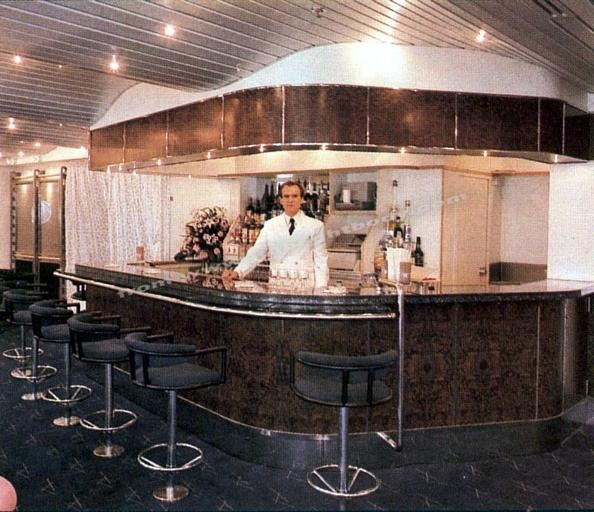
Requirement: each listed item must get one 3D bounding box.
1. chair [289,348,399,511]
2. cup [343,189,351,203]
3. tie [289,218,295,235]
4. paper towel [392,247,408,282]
[{"bbox_3d":[0.275,1.008,3.811,0.621,1.032,0.787,-1,9,-1],"label":"chair"},{"bbox_3d":[0.533,-0.629,6.254,0.091,0.143,0.078,0,9,0],"label":"cup"},{"bbox_3d":[-0.034,-0.264,5.176,0.048,0.138,0.041,-2,8,-8],"label":"tie"},{"bbox_3d":[0.837,0.068,4.757,0.125,0.266,0.094,1,9,9],"label":"paper towel"}]
